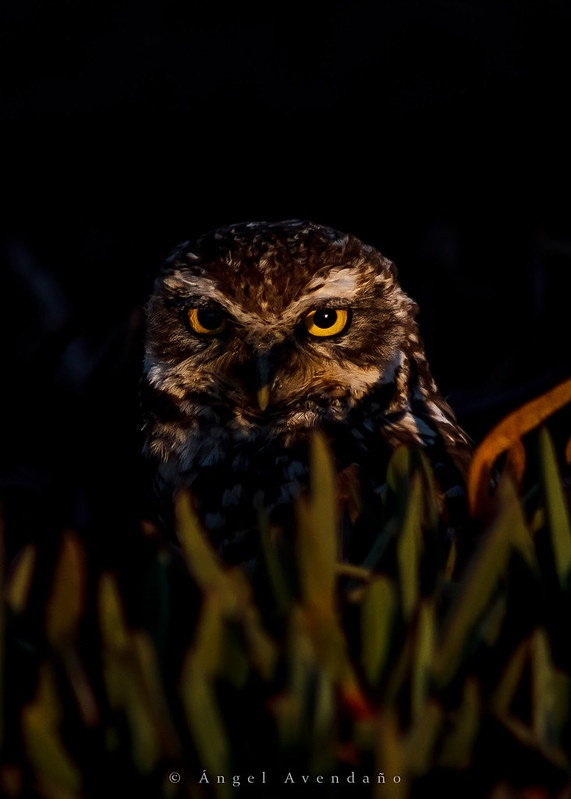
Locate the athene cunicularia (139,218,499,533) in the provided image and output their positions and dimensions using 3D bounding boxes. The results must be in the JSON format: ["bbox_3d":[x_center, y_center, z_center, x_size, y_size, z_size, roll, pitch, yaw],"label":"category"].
[{"bbox_3d":[0.024,-0.040,1.653,0.420,0.366,0.507,3,13,12],"label":"athene cunicularia"}]
